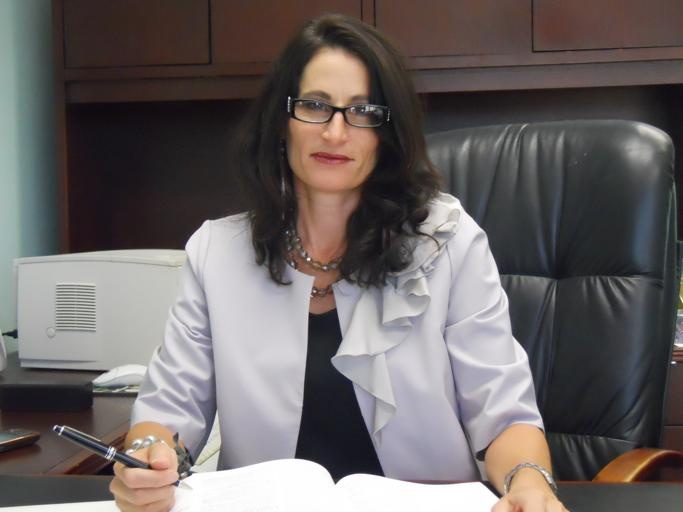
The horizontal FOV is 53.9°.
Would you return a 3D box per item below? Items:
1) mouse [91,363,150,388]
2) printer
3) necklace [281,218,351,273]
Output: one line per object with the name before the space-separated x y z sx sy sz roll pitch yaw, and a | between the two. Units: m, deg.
mouse | -0.649 0.339 1.978 0.138 0.049 0.106 2 3 1
printer | -0.780 0.168 2.138 0.374 0.306 0.410 1 1 10
necklace | -0.089 -0.007 1.804 0.101 0.037 0.138 9 43 -43
